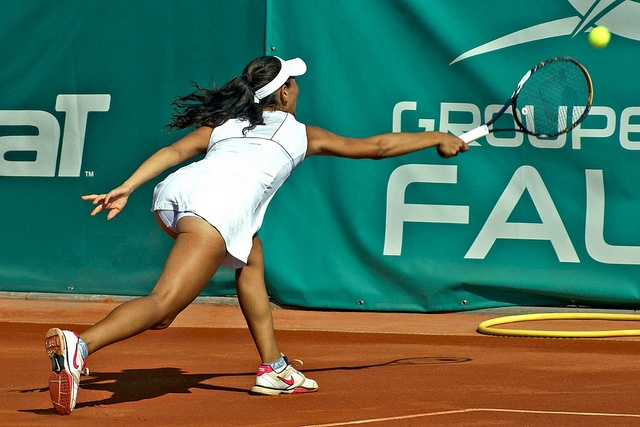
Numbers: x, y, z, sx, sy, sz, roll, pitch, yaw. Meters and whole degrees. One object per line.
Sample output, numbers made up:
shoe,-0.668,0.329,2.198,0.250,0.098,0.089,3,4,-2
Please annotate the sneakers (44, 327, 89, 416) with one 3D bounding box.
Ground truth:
sneakers,-1.327,0.839,3.967,0.180,0.515,0.238,0,10,22

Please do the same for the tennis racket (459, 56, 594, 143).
tennis racket,1.847,-0.977,6.069,0.572,0.668,1.672,2,6,18

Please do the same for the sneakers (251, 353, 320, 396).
sneakers,-0.219,1.050,4.669,0.487,0.224,0.175,10,-4,-42

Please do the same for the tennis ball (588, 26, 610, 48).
tennis ball,2.338,-1.568,6.352,0.162,0.184,0.151,1,5,0
